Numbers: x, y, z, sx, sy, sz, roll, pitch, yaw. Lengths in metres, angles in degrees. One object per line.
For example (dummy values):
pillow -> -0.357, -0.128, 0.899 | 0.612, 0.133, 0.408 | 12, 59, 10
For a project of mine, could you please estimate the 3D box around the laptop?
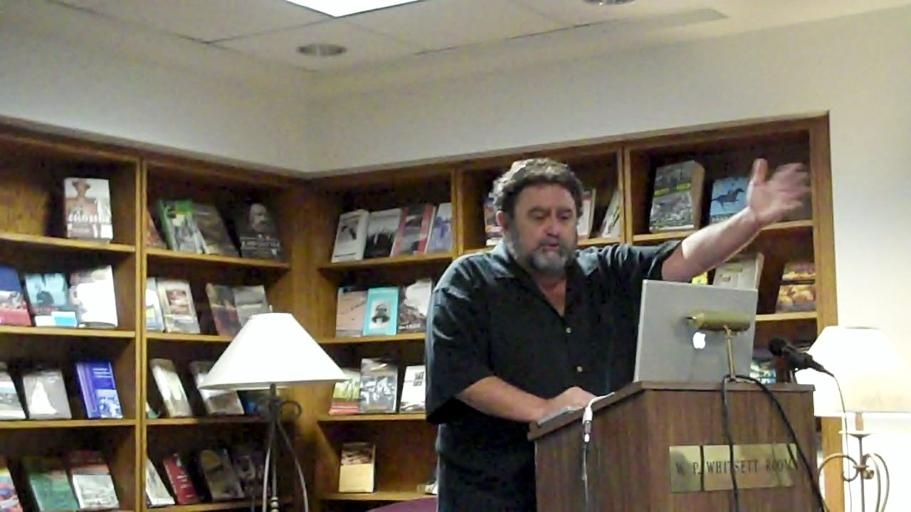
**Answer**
laptop -> 0.927, 0.308, 3.548 | 0.572, 0.357, 0.397 | 5, -4, -15

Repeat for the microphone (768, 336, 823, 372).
microphone -> 1.464, 0.423, 3.750 | 0.196, 0.141, 0.283 | -5, -7, 17
